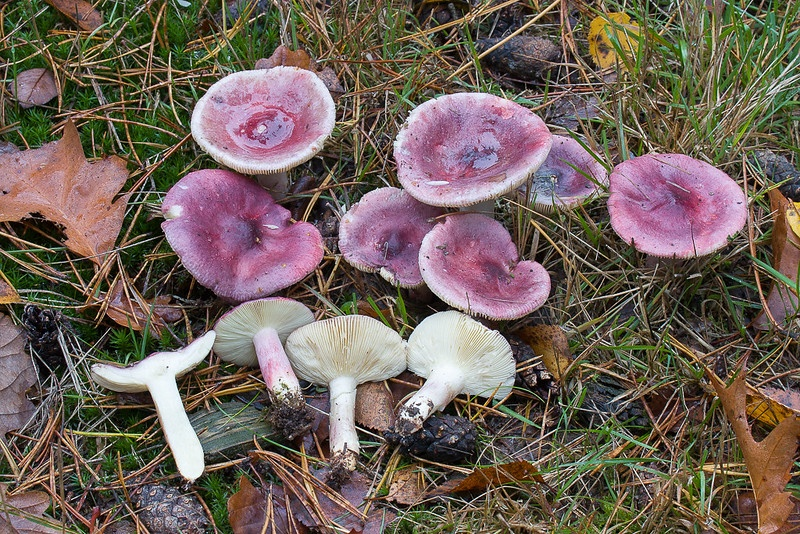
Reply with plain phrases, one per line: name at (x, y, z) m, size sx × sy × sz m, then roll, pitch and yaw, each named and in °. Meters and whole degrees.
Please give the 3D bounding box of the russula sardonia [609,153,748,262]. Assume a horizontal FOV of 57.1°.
russula sardonia at (2.515, -0.554, 6.743) m, size 1.204 × 0.305 × 0.963 m, roll 4°, pitch 81°, yaw 0°

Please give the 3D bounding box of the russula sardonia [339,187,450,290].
russula sardonia at (-0.150, -0.240, 7.206) m, size 0.891 × 0.374 × 0.993 m, roll -2°, pitch 73°, yaw -9°

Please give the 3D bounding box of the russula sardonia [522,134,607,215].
russula sardonia at (1.646, -0.898, 7.309) m, size 0.704 × 0.277 × 0.825 m, roll 4°, pitch 65°, yaw 8°
